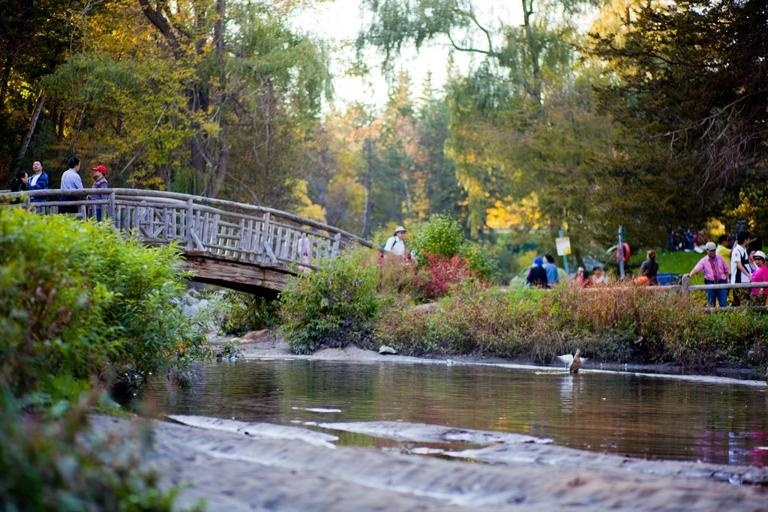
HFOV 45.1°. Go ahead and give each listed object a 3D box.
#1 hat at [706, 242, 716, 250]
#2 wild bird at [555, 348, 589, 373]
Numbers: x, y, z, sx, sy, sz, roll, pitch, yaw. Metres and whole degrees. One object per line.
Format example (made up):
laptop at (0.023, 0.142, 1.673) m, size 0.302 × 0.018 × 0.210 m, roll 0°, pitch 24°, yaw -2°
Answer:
hat at (7.516, -0.245, 21.330) m, size 0.175 × 0.137 × 0.312 m, roll -13°, pitch -44°, yaw 3°
wild bird at (3.937, 2.170, 19.539) m, size 0.568 × 0.493 × 1.786 m, roll 3°, pitch 6°, yaw 12°
